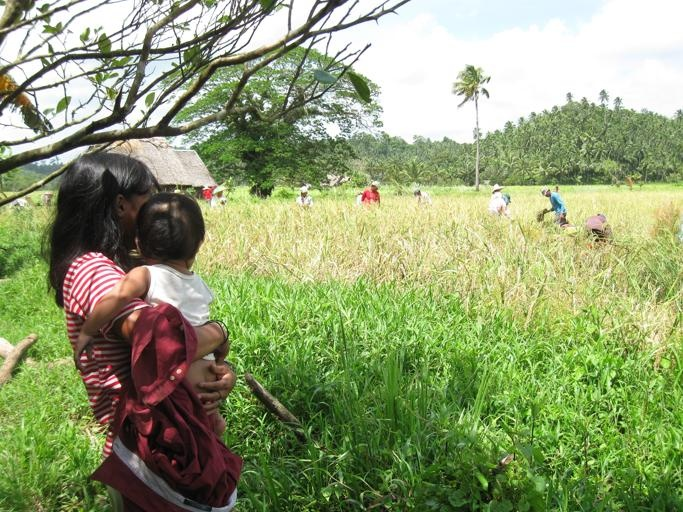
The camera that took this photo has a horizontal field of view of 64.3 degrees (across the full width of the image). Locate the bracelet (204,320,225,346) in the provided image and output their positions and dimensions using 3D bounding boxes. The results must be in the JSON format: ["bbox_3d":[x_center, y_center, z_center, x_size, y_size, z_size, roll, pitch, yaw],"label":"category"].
[{"bbox_3d":[-0.635,0.394,2.826,0.096,0.120,0.045,-7,4,-21],"label":"bracelet"}]

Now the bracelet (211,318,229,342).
[{"bbox_3d":[-0.627,0.378,2.868,0.088,0.115,0.045,3,23,28],"label":"bracelet"}]
